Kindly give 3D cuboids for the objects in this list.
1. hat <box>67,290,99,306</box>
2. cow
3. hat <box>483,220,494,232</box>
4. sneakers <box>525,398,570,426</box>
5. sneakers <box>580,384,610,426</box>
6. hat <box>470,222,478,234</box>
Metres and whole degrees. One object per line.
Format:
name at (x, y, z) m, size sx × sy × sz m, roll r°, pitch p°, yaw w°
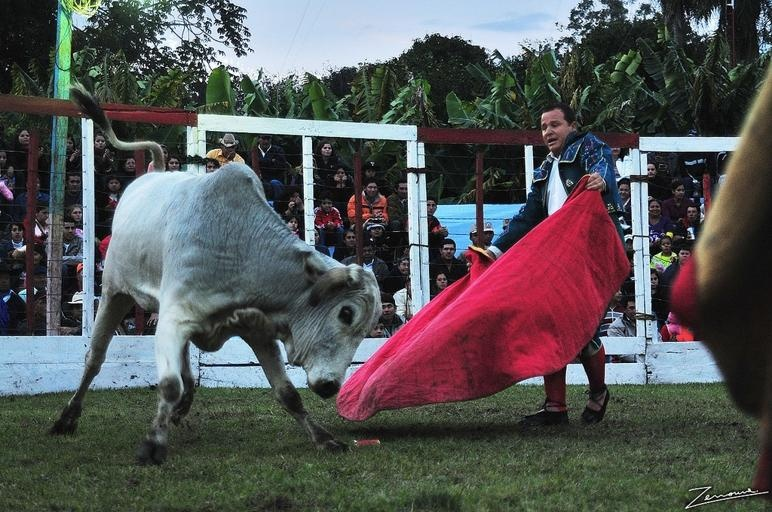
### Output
hat at (-3.933, 0.541, 16.730) m, size 0.285 × 0.093 × 0.294 m, roll -10°, pitch -12°, yaw -15°
cow at (-1.770, 0.498, 13.604) m, size 3.178 × 2.826 × 1.272 m, roll 5°, pitch 13°, yaw 24°
hat at (1.451, -0.423, 18.479) m, size 0.149 × 0.099 × 0.203 m, roll -2°, pitch -5°, yaw -5°
sneakers at (1.782, 1.727, 14.349) m, size 0.576 × 0.244 × 0.212 m, roll 0°, pitch -5°, yaw -4°
sneakers at (2.297, 1.677, 14.519) m, size 0.232 × 0.540 × 0.186 m, roll 43°, pitch -26°, yaw -30°
hat at (1.234, -0.380, 18.243) m, size 0.075 × 0.097 × 0.111 m, roll 17°, pitch -26°, yaw -13°
